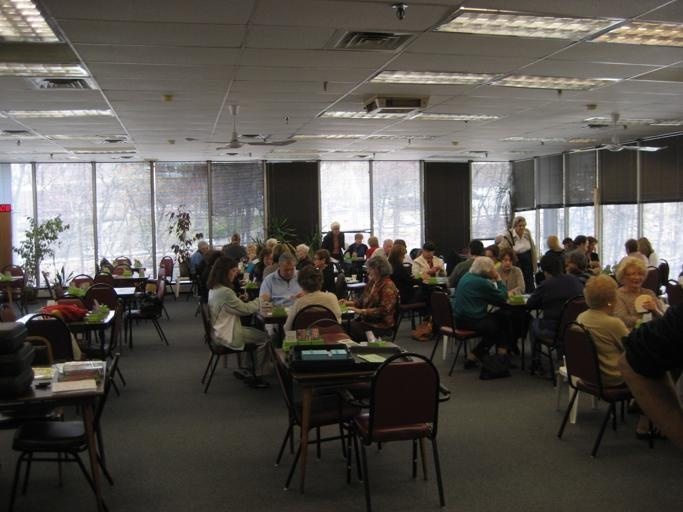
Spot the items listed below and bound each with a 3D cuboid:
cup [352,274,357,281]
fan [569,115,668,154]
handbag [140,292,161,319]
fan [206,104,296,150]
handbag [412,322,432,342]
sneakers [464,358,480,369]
[{"bbox_3d":[0.221,0.354,9.285,0.081,0.074,0.143,-4,-9,-4],"label":"cup"},{"bbox_3d":[5.103,-2.340,10.167,1.254,0.492,1.355,1,-2,-40],"label":"fan"},{"bbox_3d":[-2.884,0.773,8.525,0.378,0.372,0.303,1,-4,-4],"label":"handbag"},{"bbox_3d":[-1.619,-2.164,10.363,1.153,0.415,1.148,-2,1,38],"label":"fan"},{"bbox_3d":[1.227,1.122,8.362,0.269,0.108,0.276,-5,7,34],"label":"handbag"},{"bbox_3d":[1.633,1.331,6.991,0.286,0.121,0.095,-6,7,-38],"label":"sneakers"}]
